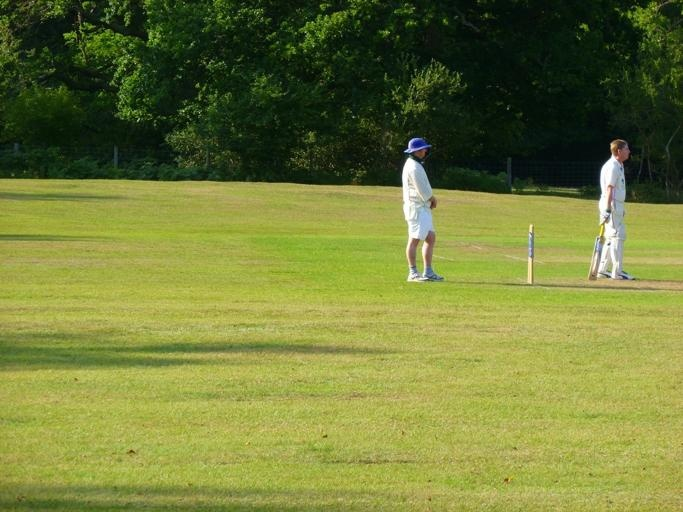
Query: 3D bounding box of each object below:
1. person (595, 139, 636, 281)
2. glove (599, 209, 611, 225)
[{"bbox_3d":[7.674,-1.235,50.542,0.843,3.885,0.550,1,2,4],"label":"person"},{"bbox_3d":[7.420,-1.056,50.431,0.159,0.395,0.356,-1,2,-41],"label":"glove"}]
